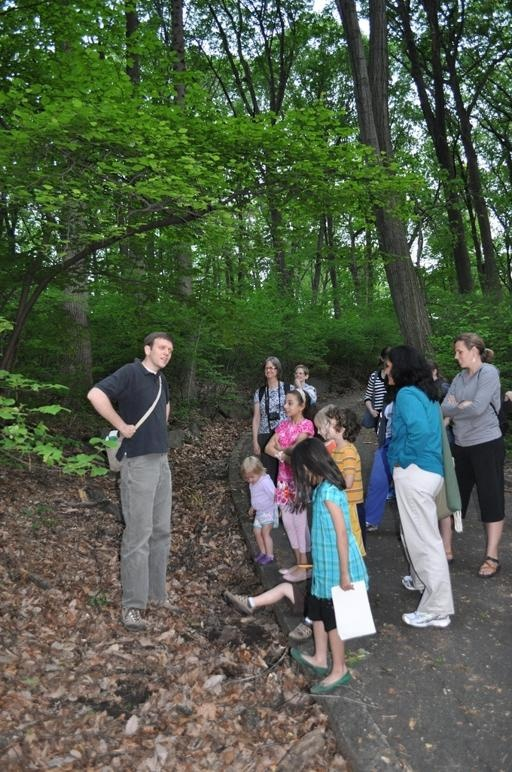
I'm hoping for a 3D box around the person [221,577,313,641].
[{"bbox_3d":[0.181,1.445,4.250,0.822,0.191,0.255,4,3,-27],"label":"person"}]

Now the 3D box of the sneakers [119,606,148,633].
[{"bbox_3d":[-0.835,1.637,4.372,0.115,0.132,0.201,23,-38,-36],"label":"sneakers"}]

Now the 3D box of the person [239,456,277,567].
[{"bbox_3d":[0.048,1.037,5.282,0.271,0.898,0.415,-5,8,0],"label":"person"}]

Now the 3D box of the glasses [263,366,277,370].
[{"bbox_3d":[0.133,-0.163,6.020,0.121,0.060,0.057,1,9,33],"label":"glasses"}]

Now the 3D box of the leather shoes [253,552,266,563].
[{"bbox_3d":[0.036,1.436,5.246,0.114,0.075,0.197,-1,-19,3],"label":"leather shoes"}]

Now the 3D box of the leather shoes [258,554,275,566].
[{"bbox_3d":[0.079,1.437,5.176,0.138,0.061,0.106,-4,7,-2],"label":"leather shoes"}]

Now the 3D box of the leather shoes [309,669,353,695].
[{"bbox_3d":[0.414,1.657,3.531,0.256,0.070,0.091,-7,-8,-28],"label":"leather shoes"}]

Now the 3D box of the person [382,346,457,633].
[{"bbox_3d":[1.087,0.662,4.183,0.372,1.839,0.547,-3,8,11],"label":"person"}]

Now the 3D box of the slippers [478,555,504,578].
[{"bbox_3d":[1.827,1.378,4.839,0.285,0.147,0.099,-10,9,-38],"label":"slippers"}]

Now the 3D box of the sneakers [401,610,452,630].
[{"bbox_3d":[1.114,1.547,4.110,0.302,0.126,0.115,5,3,2],"label":"sneakers"}]

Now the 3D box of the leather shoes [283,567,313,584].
[{"bbox_3d":[0.334,1.464,4.882,0.234,0.078,0.163,1,-6,-12],"label":"leather shoes"}]

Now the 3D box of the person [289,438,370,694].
[{"bbox_3d":[0.383,1.016,3.589,0.453,1.417,0.454,-12,11,-40],"label":"person"}]

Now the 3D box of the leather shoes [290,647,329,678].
[{"bbox_3d":[0.321,1.655,3.764,0.252,0.091,0.084,27,-14,39],"label":"leather shoes"}]

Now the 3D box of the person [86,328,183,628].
[{"bbox_3d":[-0.828,0.660,4.442,0.328,2.035,0.788,0,9,29],"label":"person"}]
